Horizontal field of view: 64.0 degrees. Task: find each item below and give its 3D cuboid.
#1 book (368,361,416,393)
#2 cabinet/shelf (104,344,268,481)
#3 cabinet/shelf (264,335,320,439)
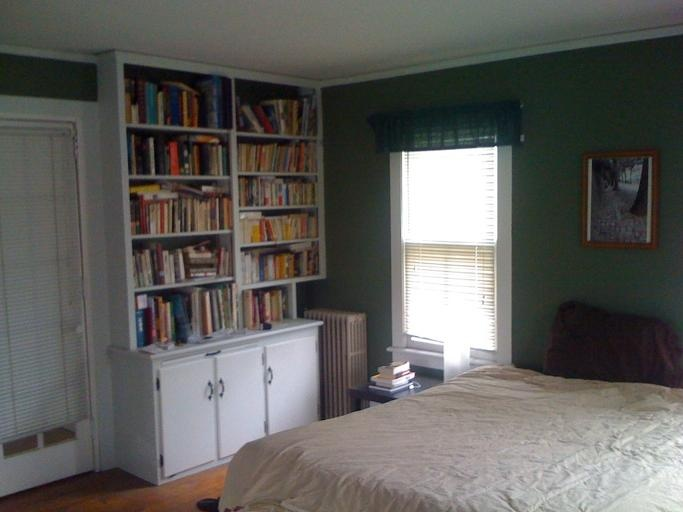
[{"bbox_3d":[0.420,0.959,4.486,0.261,0.160,0.266,0,5,38],"label":"book"},{"bbox_3d":[-1.281,1.243,4.681,0.612,0.999,1.082,-2,-1,39],"label":"cabinet/shelf"},{"bbox_3d":[-0.461,1.149,5.044,0.449,0.775,0.265,0,-21,-9],"label":"cabinet/shelf"}]
